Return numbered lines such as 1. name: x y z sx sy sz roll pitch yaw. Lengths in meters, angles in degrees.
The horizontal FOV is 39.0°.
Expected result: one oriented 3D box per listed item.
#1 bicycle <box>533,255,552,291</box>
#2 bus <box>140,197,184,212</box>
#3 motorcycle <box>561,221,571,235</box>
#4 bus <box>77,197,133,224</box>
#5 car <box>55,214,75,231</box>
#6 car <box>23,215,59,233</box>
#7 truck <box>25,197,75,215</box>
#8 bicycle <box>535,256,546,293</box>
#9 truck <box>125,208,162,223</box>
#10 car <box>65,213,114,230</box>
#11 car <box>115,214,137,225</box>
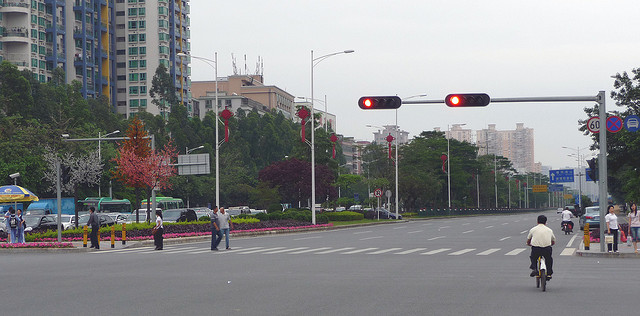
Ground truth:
1. bicycle: 21.608 11.243 88.145 1.369 3.461 0.643 -2 -6 8
2. bus: -24.463 7.073 140.281 2.746 2.310 6.234 -3 -7 24
3. motorcycle: 30.786 8.802 113.398 0.922 1.656 0.875 -6 -7 38
4. bus: -31.536 8.357 138.236 10.822 4.081 3.267 -3 -9 32
5. car: -32.821 8.063 116.110 1.914 1.298 2.902 0 -7 -3
6. car: -34.962 8.576 112.414 5.154 2.035 2.877 -5 5 -43
7. truck: -40.338 7.751 136.644 5.682 2.526 2.643 -7 -8 -27
8. bicycle: 21.460 11.359 88.106 0.929 3.451 0.462 -6 -7 35
9. truck: -23.619 7.766 120.320 2.644 1.739 4.155 -6 -13 32
10. car: -29.466 7.927 114.595 2.933 1.838 6.479 -5 -10 34
11. car: -26.087 8.566 125.874 4.843 1.450 1.997 1 -4 7
